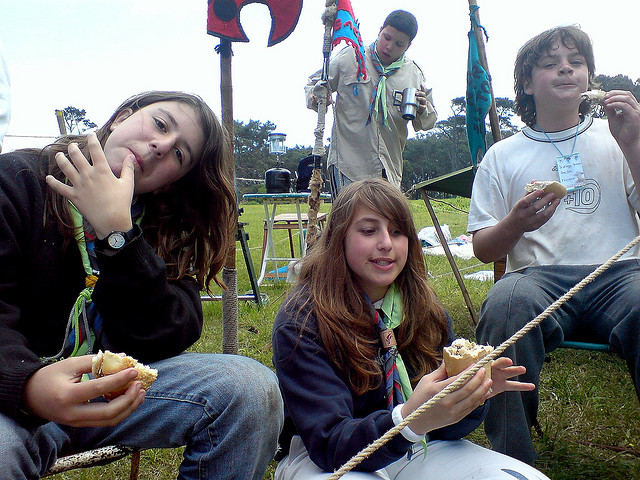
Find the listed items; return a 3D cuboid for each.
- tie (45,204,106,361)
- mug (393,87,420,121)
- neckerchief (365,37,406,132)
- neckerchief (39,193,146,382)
[{"bbox_3d":[-0.974,0.126,1.938,0.255,0.652,0.258,-2,9,-22],"label":"tie"},{"bbox_3d":[0.845,-1.386,4.607,0.230,0.272,0.154,5,-3,31],"label":"mug"},{"bbox_3d":[0.671,-1.629,4.798,0.326,1.000,0.098,7,-10,3],"label":"neckerchief"},{"bbox_3d":[-0.972,0.182,1.917,0.264,0.696,0.154,6,1,3],"label":"neckerchief"}]
